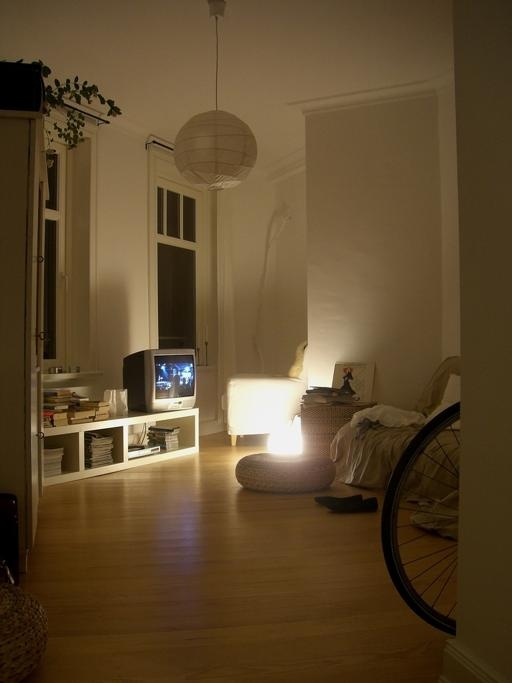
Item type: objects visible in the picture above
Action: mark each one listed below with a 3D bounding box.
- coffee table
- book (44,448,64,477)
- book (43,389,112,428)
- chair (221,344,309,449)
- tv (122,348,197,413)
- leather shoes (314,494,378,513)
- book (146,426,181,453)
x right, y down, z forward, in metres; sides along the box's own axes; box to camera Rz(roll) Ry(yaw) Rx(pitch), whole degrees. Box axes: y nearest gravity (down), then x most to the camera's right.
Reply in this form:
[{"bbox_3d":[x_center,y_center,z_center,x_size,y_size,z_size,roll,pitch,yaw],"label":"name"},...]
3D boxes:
[{"bbox_3d":[0.528,0.610,3.993,0.348,0.416,0.377,0,-6,3],"label":"coffee table"},{"bbox_3d":[-1.293,0.770,3.536,0.121,0.141,0.169,-3,-2,45],"label":"book"},{"bbox_3d":[-1.236,0.452,3.797,0.554,0.243,0.298,-5,4,-43],"label":"book"},{"bbox_3d":[0.109,0.476,5.480,0.802,1.084,0.708,1,-3,1],"label":"chair"},{"bbox_3d":[-0.775,0.328,4.625,0.344,0.533,0.483,-4,-3,41],"label":"tv"},{"bbox_3d":[0.470,0.826,2.817,0.190,0.076,0.138,3,2,-5],"label":"leather shoes"},{"bbox_3d":[-0.773,0.810,4.609,0.178,0.135,0.191,-1,-4,33],"label":"book"}]
